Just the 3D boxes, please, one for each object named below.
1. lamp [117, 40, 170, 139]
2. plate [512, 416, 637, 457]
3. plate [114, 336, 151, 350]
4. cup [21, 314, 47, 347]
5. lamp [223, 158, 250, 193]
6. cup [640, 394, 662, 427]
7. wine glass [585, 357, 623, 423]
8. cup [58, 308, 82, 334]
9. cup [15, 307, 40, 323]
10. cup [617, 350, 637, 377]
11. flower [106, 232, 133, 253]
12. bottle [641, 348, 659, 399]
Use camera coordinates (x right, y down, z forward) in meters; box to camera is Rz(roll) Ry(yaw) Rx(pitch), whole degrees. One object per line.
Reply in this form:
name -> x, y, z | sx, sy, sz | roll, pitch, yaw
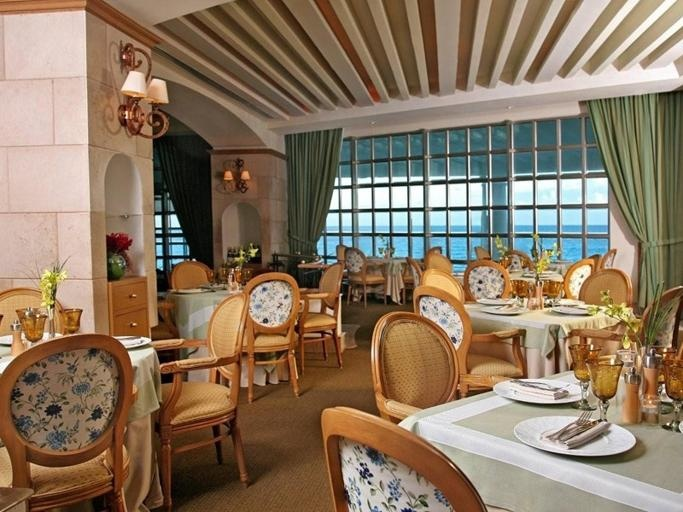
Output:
lamp -> -1.960, -1.586, 4.593 | 0.338, 0.828, 0.540 | -11, 24, -39
plate -> 0.780, 0.611, 1.603 | 0.367, 0.032, 0.262 | 2, 5, 22
plate -> -1.260, 0.523, 2.911 | 0.165, 0.047, 0.294 | -3, 5, -33
cup -> -1.630, 0.403, 2.601 | 0.143, 0.163, 0.145 | 0, -4, 0
lamp -> -2.098, -1.606, 9.544 | 0.516, 0.720, 0.208 | -2, 8, -25
cup -> 1.104, 0.550, 1.698 | 0.081, 0.103, 0.086 | -2, 7, 0
wine glass -> 1.005, 0.491, 1.816 | 0.111, 0.228, 0.337 | 3, 6, 31
cup -> -1.580, 0.385, 2.773 | 0.088, 0.182, 0.241 | -3, 6, -34
cup -> -1.768, 0.333, 2.679 | 0.132, 0.121, 0.133 | 0, -5, 0
cup -> 1.078, 0.399, 1.790 | 0.069, 0.091, 0.076 | 3, 8, 34
flower -> -2.143, -0.119, 4.585 | 0.208, 0.237, 0.219 | -5, 6, -34
bottle -> 1.132, 0.430, 1.746 | 0.054, 0.170, 0.081 | 4, 6, 33
